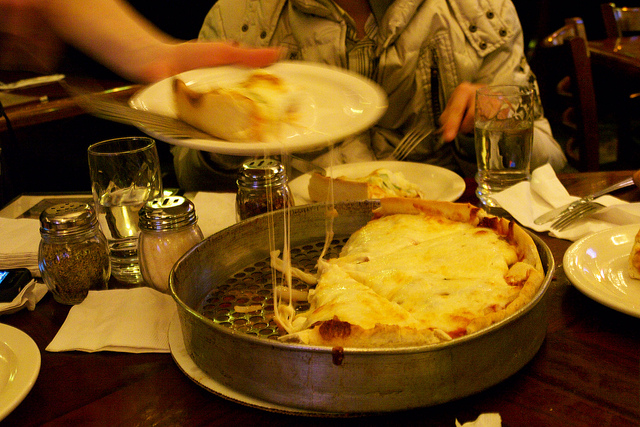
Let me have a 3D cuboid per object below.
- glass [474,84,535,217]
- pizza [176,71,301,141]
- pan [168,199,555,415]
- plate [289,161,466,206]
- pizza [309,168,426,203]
[{"bbox_3d":[0.716,-0.251,1.858,0.220,0.479,0.226,2,24,25],"label":"glass"},{"bbox_3d":[-0.225,-0.307,1.317,0.340,0.090,0.403,-14,32,-14],"label":"pizza"},{"bbox_3d":[0.112,0.178,1.437,1.063,0.180,1.041,-1,17,12],"label":"pan"},{"bbox_3d":[0.246,-0.186,2.000,0.726,0.191,0.544,-12,12,-39],"label":"plate"},{"bbox_3d":[0.068,-0.083,1.841,0.244,0.088,0.228,-3,-3,-4],"label":"pizza"}]
